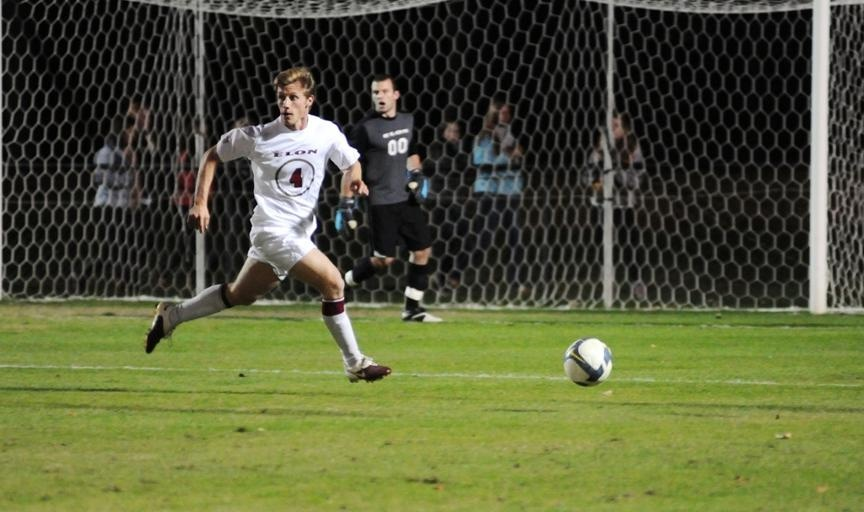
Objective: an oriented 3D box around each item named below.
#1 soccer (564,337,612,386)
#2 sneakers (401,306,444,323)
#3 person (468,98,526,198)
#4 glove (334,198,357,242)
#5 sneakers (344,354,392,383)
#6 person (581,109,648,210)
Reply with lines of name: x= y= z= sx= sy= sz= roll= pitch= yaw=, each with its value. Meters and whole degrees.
soccer: x=1.126 y=0.816 z=7.303 sx=0.383 sy=0.345 sz=0.365 roll=-11 pitch=-31 yaw=28
sneakers: x=-0.046 y=0.583 z=9.667 sx=0.489 sy=0.178 sz=0.153 roll=1 pitch=-1 yaw=5
person: x=0.786 y=-1.272 z=11.356 sx=0.571 sy=1.091 sz=0.581 roll=0 pitch=8 yaw=4
glove: x=-0.759 y=-0.382 z=8.623 sx=0.143 sy=0.368 sz=0.380 roll=11 pitch=26 yaw=-21
sneakers: x=-0.494 y=0.877 z=7.395 sx=0.324 sy=0.218 sz=0.211 roll=-1 pitch=8 yaw=-6
person: x=2.080 y=-1.119 z=11.006 sx=0.672 sy=1.059 sz=1.558 roll=1 pitch=8 yaw=10
